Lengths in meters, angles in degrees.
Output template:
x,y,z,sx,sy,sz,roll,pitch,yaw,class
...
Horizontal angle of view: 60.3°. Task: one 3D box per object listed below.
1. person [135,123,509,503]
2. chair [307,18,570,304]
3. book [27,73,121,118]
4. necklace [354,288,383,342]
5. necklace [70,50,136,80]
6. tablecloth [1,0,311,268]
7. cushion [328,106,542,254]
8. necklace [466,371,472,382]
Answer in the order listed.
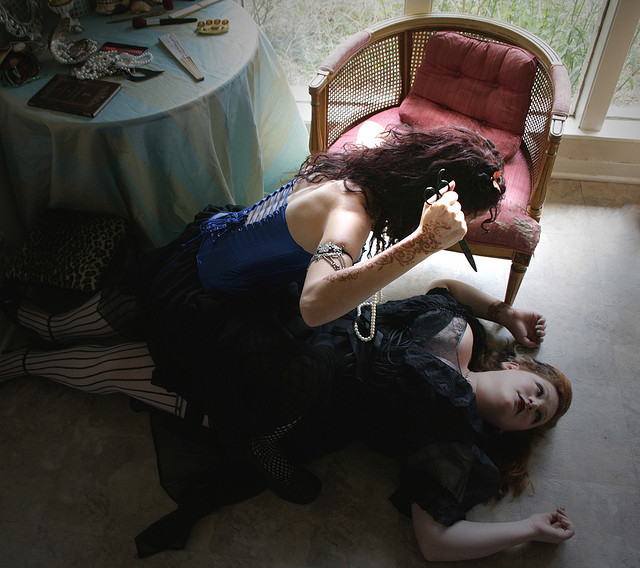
x,y,z,sx,sy,sz,roll,pitch,yaw,class
-0.013,0.129,1.625,0.976,1.008,0.592,10,43,-24,person
0.490,-0.527,2.289,0.905,0.851,0.744,18,50,17,chair
-0.834,-0.640,1.860,0.231,0.023,0.171,13,50,17,book
0.165,0.084,1.812,0.068,0.021,0.209,2,66,14,necklace
-0.777,-0.788,1.991,0.207,0.057,0.118,-16,42,-22,necklace
-0.602,-0.606,2.175,0.694,0.702,1.099,24,45,27,tablecloth
0.477,-0.332,2.262,0.674,0.576,0.633,17,73,4,cushion
0.471,0.299,1.762,0.009,0.028,0.021,13,2,-1,necklace
